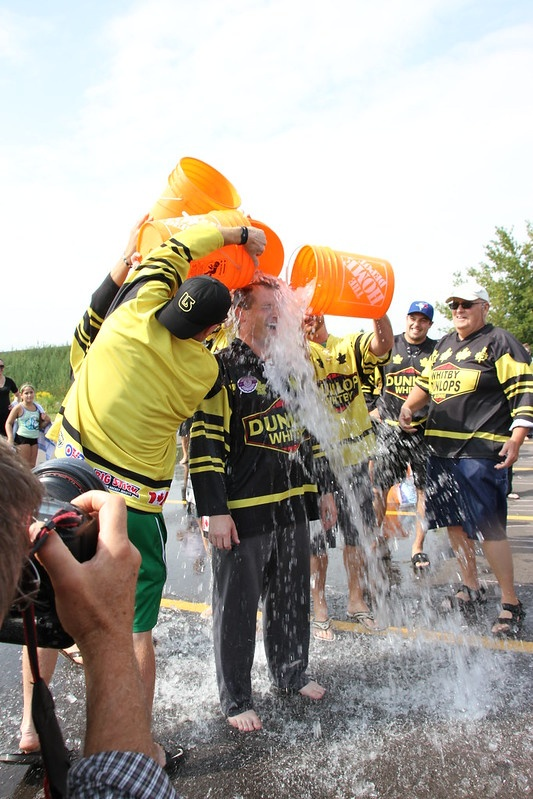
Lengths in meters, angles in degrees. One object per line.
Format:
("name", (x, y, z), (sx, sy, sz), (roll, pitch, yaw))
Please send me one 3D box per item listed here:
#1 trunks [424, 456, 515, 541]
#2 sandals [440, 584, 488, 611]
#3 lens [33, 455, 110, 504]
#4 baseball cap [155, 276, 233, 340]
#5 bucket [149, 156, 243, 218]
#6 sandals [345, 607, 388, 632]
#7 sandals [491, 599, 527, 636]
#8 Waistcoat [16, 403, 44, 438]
("trunks", (1.280, 0.629, 3.441), (0.278, 0.546, 0.659), (-3, 0, -29))
("sandals", (1.317, 1.312, 3.488), (0.359, 0.137, 0.125), (6, -21, -41))
("lens", (-0.395, 0.162, 1.069), (0.110, 0.115, 0.111), (12, 27, -11))
("baseball cap", (-0.246, -0.322, 1.909), (0.263, 0.179, 0.140), (-43, 3, -29))
("bucket", (-0.338, -1.013, 2.556), (0.453, 0.301, 0.283), (-3, 0, -12))
("sandals", (0.609, 1.353, 3.229), (0.078, 0.058, 0.191), (3, -2, -37))
("sandals", (1.405, 1.276, 3.071), (0.167, 0.198, 0.260), (-3, 0, 26))
("Waistcoat", (-3.532, 0.318, 7.818), (0.311, 0.548, 0.432), (-13, -16, 40))
